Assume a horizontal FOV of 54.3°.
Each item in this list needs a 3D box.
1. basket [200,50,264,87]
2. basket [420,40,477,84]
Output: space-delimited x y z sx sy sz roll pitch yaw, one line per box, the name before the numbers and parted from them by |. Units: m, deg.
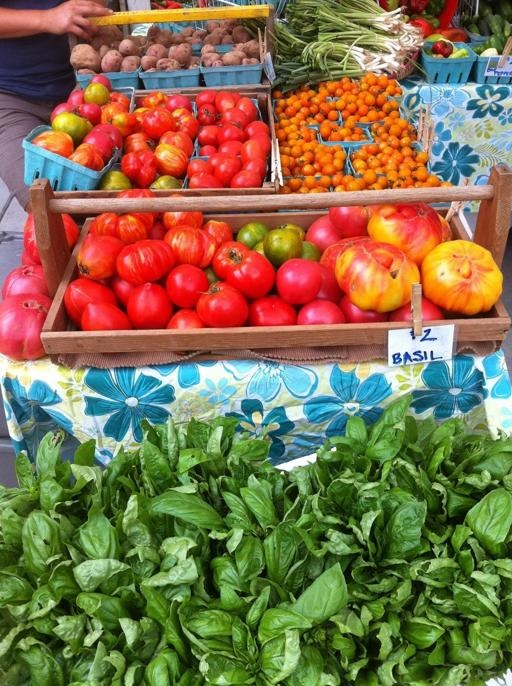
basket | -0.115 -1.364 2.512 0.325 0.140 0.271 -1 35 2
basket | 1.163 -1.728 3.020 0.272 0.154 0.320 5 43 2
